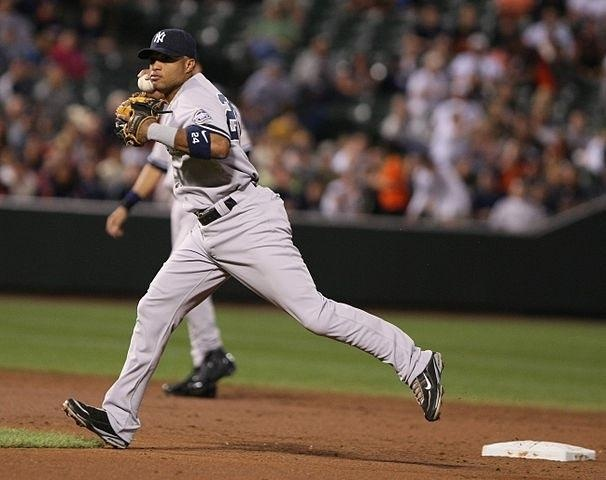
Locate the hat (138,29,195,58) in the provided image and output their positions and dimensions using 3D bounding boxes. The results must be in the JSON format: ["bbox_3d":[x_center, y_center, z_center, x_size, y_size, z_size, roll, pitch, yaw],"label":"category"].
[{"bbox_3d":[-0.778,-1.147,5.615,0.252,0.167,0.354,5,3,34],"label":"hat"}]

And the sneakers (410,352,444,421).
[{"bbox_3d":[0.724,0.843,5.608,0.217,0.437,0.153,-8,3,-4],"label":"sneakers"}]

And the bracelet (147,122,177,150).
[{"bbox_3d":[-0.785,-0.596,5.437,0.187,0.107,0.078,13,9,37],"label":"bracelet"}]

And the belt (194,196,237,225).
[{"bbox_3d":[-0.493,-0.166,5.582,0.205,0.088,0.155,-27,10,11],"label":"belt"}]

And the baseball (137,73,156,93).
[{"bbox_3d":[-0.941,-0.945,5.692,0.102,0.120,0.057,1,-16,-21],"label":"baseball"}]

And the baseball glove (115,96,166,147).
[{"bbox_3d":[-0.931,-0.681,5.668,0.422,0.193,0.358,8,13,1],"label":"baseball glove"}]
